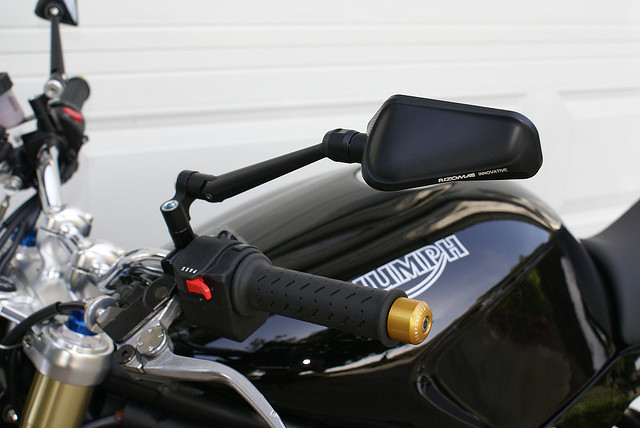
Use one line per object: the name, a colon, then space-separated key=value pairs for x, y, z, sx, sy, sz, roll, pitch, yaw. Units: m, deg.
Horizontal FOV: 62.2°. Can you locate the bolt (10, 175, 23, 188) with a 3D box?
bolt: x=-0.566 y=-0.061 z=0.999 sx=0.018 sy=0.018 sz=0.019 roll=-2 pitch=5 yaw=1
